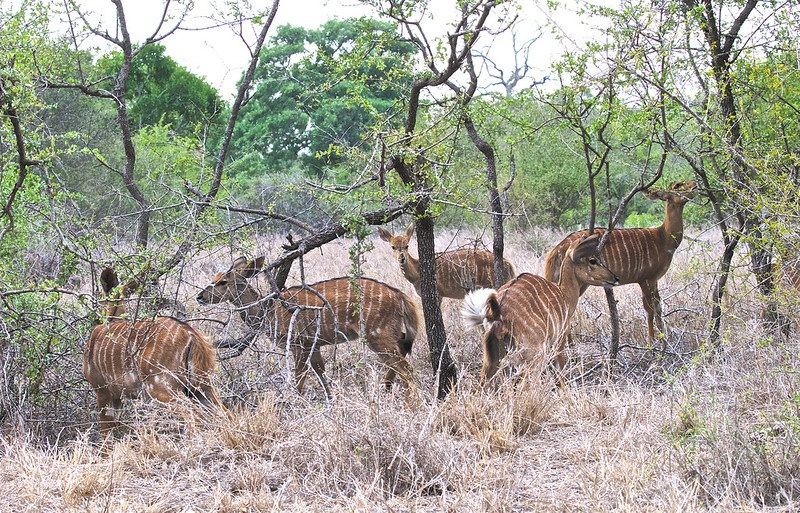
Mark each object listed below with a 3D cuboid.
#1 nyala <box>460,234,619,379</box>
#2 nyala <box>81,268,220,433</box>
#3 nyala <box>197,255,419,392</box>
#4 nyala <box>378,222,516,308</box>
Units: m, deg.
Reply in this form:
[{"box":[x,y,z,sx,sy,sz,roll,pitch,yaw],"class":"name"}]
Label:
[{"box":[1.800,0.829,9.294,2.150,1.835,0.755,-21,20,-33],"class":"nyala"},{"box":[-3.060,1.204,8.864,2.360,2.104,0.792,-3,-14,34],"class":"nyala"},{"box":[-1.127,0.971,9.663,2.750,2.065,0.746,-3,2,-11],"class":"nyala"},{"box":[0.832,0.391,12.234,2.283,1.713,0.935,1,28,-4],"class":"nyala"}]
